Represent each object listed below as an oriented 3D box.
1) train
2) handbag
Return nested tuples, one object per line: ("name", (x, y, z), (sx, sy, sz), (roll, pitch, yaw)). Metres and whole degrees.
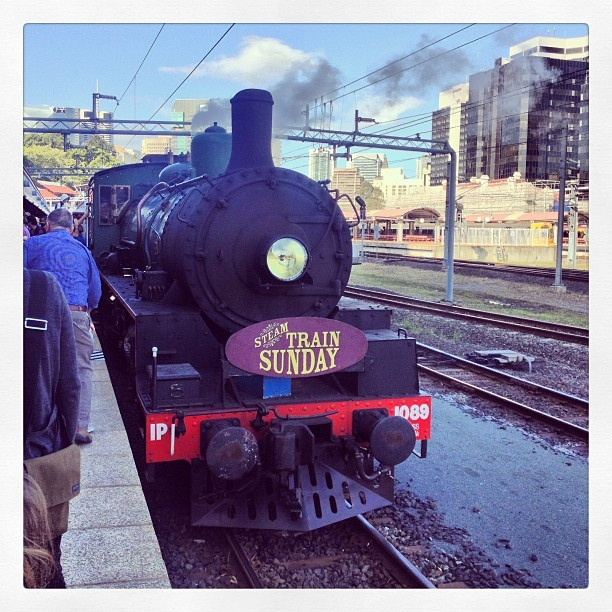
("train", (-1.549, -0.533, 7.162), (2.193, 3.675, 7.375), (0, 9, -28))
("handbag", (-1.110, 0.441, 2.399), (0.228, 1.175, 0.254), (-1, 10, -24))
